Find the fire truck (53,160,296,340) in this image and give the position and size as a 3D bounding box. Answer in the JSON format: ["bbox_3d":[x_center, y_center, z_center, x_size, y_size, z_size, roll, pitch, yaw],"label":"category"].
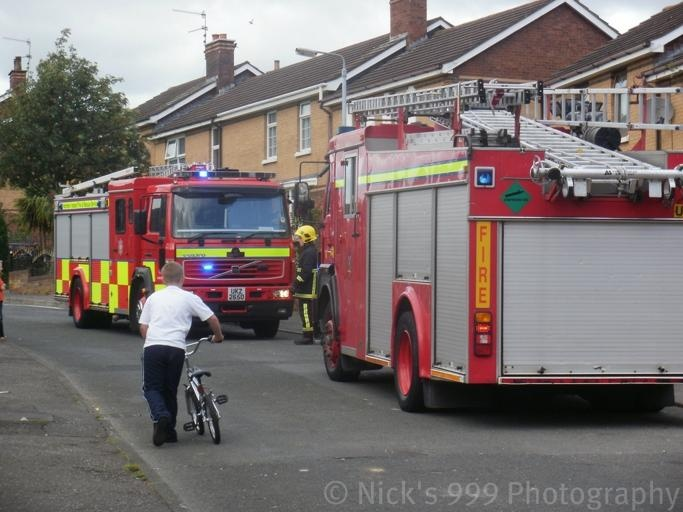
[{"bbox_3d":[-4.126,-0.140,25.342,3.095,3.384,7.221,-3,0,-31],"label":"fire truck"}]

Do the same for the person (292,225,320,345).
[{"bbox_3d":[-0.784,0.498,22.301,0.558,2.219,0.937,1,3,1],"label":"person"}]

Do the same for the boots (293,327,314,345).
[{"bbox_3d":[-0.862,1.568,22.364,0.488,0.350,0.188,3,0,7],"label":"boots"}]

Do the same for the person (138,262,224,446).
[{"bbox_3d":[-2.034,1.068,13.181,0.956,2.010,1.355,2,3,27],"label":"person"}]

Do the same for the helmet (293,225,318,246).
[{"bbox_3d":[-0.866,-0.438,22.315,0.489,0.409,0.383,3,4,14],"label":"helmet"}]
